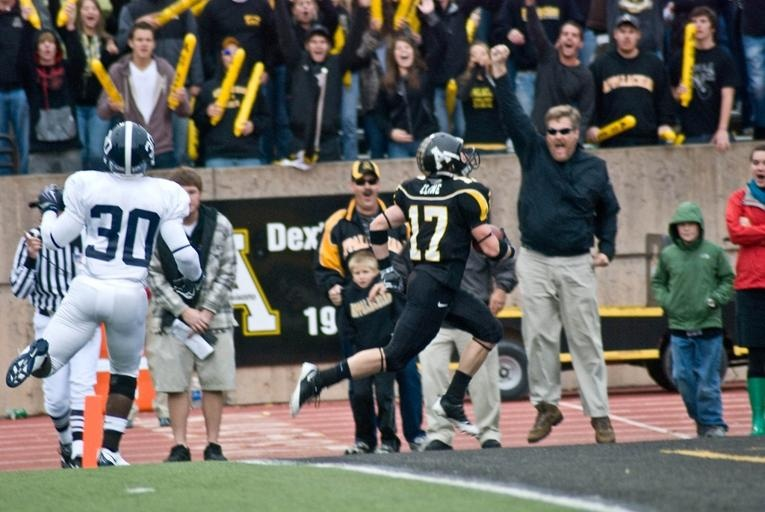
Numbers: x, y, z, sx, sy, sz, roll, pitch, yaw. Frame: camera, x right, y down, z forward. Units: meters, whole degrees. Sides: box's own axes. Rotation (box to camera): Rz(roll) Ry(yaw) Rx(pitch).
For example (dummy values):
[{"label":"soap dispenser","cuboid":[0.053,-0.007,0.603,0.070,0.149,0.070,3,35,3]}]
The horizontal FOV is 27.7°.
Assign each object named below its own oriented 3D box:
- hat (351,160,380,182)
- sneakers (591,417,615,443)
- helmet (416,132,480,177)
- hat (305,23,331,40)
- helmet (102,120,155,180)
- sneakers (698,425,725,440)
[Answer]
[{"label":"hat","cuboid":[-0.194,-0.905,16.097,0.266,0.186,0.273,-3,14,-7]},{"label":"sneakers","cuboid":[2.213,1.764,15.663,0.207,0.262,0.375,0,14,4]},{"label":"helmet","cuboid":[0.660,-1.016,15.492,0.387,0.464,0.686,8,16,33]},{"label":"hat","cuboid":[-0.770,-2.702,18.751,0.262,0.214,0.321,3,14,16]},{"label":"helmet","cuboid":[-2.472,-1.046,15.215,0.419,0.551,0.436,4,-42,-11]},{"label":"sneakers","cuboid":[3.378,1.804,16.091,0.128,0.151,0.336,-1,-10,-39]}]
